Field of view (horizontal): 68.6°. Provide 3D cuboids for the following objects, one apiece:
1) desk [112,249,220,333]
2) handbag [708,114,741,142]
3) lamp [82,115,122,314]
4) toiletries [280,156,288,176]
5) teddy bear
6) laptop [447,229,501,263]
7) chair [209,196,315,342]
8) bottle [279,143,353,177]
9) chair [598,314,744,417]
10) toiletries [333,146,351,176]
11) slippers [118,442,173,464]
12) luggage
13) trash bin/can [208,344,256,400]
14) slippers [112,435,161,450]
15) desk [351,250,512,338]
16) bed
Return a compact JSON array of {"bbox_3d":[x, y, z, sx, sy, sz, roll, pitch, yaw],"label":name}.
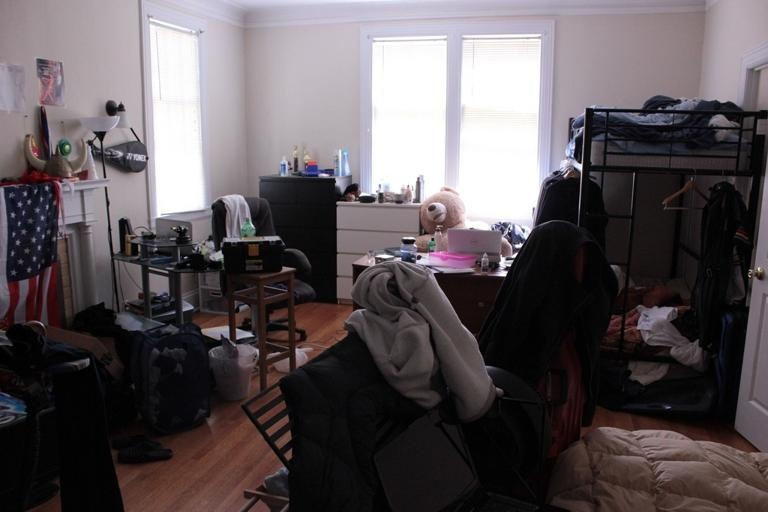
[{"bbox_3d":[-1.966,0.219,4.904,1.302,0.719,0.408,7,14,39],"label":"desk"},{"bbox_3d":[2.552,-0.955,4.259,0.213,0.215,0.092,22,-7,-12],"label":"handbag"},{"bbox_3d":[-2.418,-0.337,4.995,0.290,1.748,0.564,-7,11,-25],"label":"lamp"},{"bbox_3d":[-1.165,-1.054,6.583,0.109,0.218,0.323,-3,11,-9],"label":"toiletries"},{"bbox_3d":[0.800,-0.336,6.082,1.051,0.774,0.994,-4,-12,4],"label":"teddy bear"},{"bbox_3d":[0.770,-0.108,4.708,0.394,0.246,0.282,3,9,20],"label":"laptop"},{"bbox_3d":[-1.084,0.098,5.164,0.893,1.277,0.809,5,5,14],"label":"chair"},{"bbox_3d":[-0.637,-1.111,6.547,1.132,0.455,0.334,0,7,2],"label":"bottle"},{"bbox_3d":[2.250,0.787,4.405,0.830,0.611,0.845,1,-3,25],"label":"chair"},{"bbox_3d":[-0.480,-1.085,6.528,0.199,0.313,0.177,-2,10,-4],"label":"toiletries"},{"bbox_3d":[-1.631,1.321,3.829,0.379,0.139,0.134,4,6,-18],"label":"slippers"},{"bbox_3d":[-1.569,0.897,4.193,0.459,0.798,0.585,7,13,34],"label":"luggage"},{"bbox_3d":[-1.169,0.884,4.482,0.389,0.351,0.429,5,-2,-42],"label":"trash bin/can"},{"bbox_3d":[-1.743,1.289,3.912,0.342,0.123,0.120,9,-6,-19],"label":"slippers"},{"bbox_3d":[0.565,0.320,4.792,1.194,0.793,0.665,0,-1,13],"label":"desk"},{"bbox_3d":[2.239,-0.169,4.388,1.217,1.807,2.138,1,6,14],"label":"bed"}]
